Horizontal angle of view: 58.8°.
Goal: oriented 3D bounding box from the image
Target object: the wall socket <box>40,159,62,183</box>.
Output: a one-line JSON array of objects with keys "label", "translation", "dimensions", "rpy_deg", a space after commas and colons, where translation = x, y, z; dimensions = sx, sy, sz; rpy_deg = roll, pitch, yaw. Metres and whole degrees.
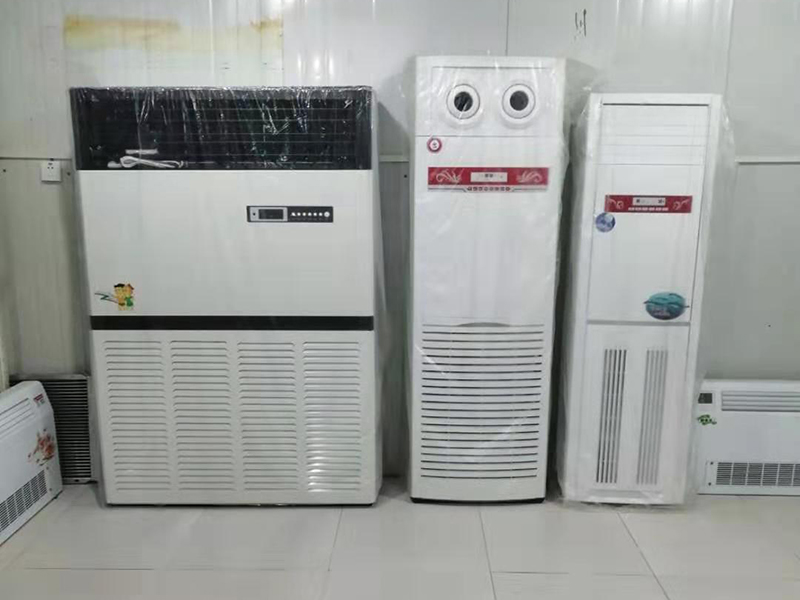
[{"label": "wall socket", "translation": [-1.844, -0.678, 3.755], "dimensions": [0.103, 0.118, 0.034], "rpy_deg": [1, 15, 0]}]

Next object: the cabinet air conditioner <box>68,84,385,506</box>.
[{"label": "cabinet air conditioner", "translation": [-0.805, -0.052, 4.031], "dimensions": [1.459, 2.124, 1.117], "rpy_deg": [0, 8, 3]}]

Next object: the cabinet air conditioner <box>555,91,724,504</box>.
[{"label": "cabinet air conditioner", "translation": [1.165, 0.022, 3.503], "dimensions": [0.611, 2.005, 0.383], "rpy_deg": [4, 15, 13]}]

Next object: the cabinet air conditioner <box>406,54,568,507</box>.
[{"label": "cabinet air conditioner", "translation": [0.405, -0.060, 3.511], "dimensions": [0.705, 2.183, 0.323], "rpy_deg": [2, 15, 3]}]
